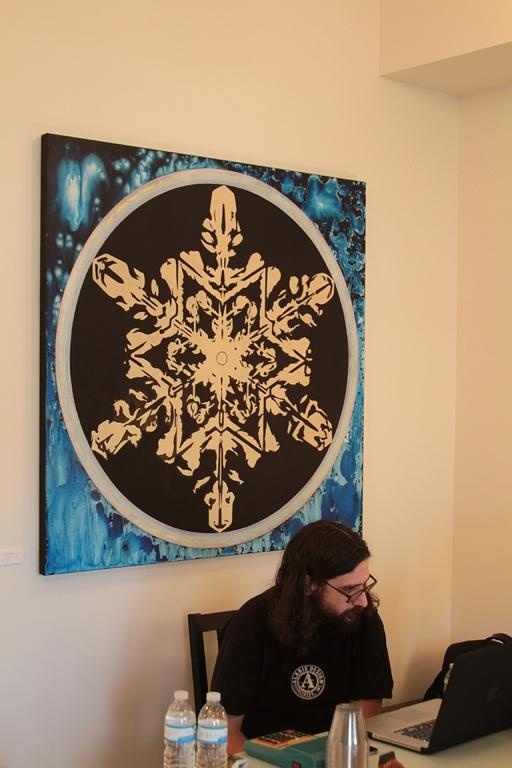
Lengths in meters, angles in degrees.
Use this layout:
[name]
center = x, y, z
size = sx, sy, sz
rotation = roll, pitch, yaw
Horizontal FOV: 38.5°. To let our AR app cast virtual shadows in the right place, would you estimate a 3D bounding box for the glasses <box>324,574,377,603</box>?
[glasses]
center = 0.238, 0.532, 1.908
size = 0.153, 0.045, 0.151
rotation = 0, -8, -44
